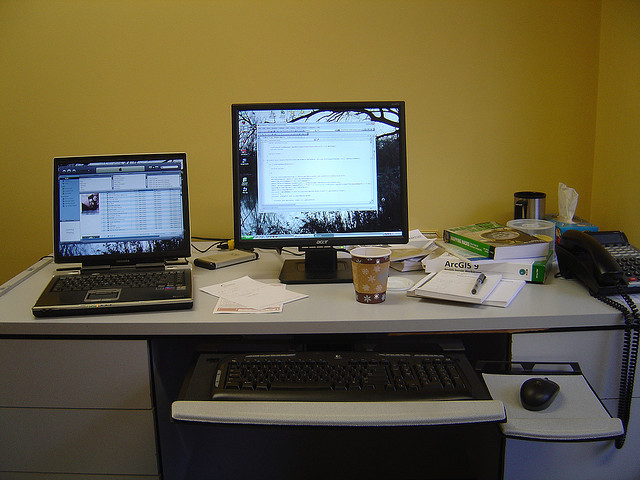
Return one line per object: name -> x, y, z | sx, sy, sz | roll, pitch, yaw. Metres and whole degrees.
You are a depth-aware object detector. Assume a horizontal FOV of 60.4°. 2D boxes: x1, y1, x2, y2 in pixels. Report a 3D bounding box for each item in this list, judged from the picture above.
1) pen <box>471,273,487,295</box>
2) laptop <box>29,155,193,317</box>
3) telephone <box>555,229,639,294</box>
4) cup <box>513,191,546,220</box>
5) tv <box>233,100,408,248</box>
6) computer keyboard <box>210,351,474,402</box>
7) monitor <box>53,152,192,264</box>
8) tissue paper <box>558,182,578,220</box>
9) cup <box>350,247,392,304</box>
pen -> 0.499, 0.125, 1.715 | 0.025, 0.023, 0.156 | 13, 24, 22
laptop -> -0.637, -0.031, 1.722 | 0.456, 0.400, 0.370 | -2, 17, -15
telephone -> 0.881, 0.073, 1.762 | 0.171, 0.099, 0.236 | -1, 16, -9
cup -> 0.817, -0.134, 2.198 | 0.132, 0.113, 0.086 | -2, 8, -8
tv -> -0.010, -0.233, 1.859 | 0.486, 0.396, 0.048 | -1, 4, 0
computer keyboard -> 0.056, 0.365, 1.478 | 0.683, 0.067, 0.194 | -1, 9, 1
monitor -> -0.677, -0.101, 1.855 | 0.365, 0.289, 0.038 | -2, 3, -4
tissue paper -> 0.942, -0.149, 2.108 | 0.044, 0.132, 0.110 | -2, 9, -6
cup -> 0.152, 0.102, 1.660 | 0.149, 0.159, 0.152 | 0, 7, 0
